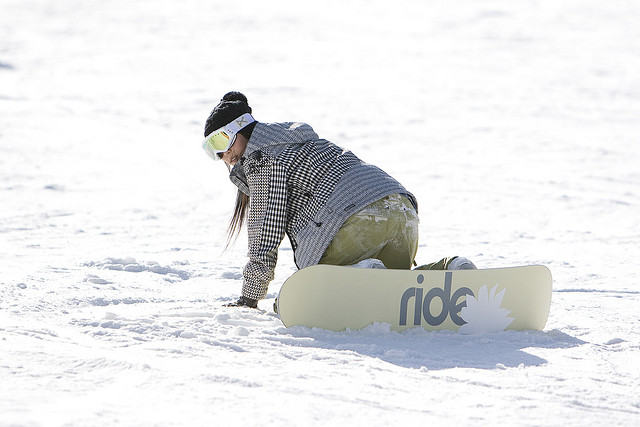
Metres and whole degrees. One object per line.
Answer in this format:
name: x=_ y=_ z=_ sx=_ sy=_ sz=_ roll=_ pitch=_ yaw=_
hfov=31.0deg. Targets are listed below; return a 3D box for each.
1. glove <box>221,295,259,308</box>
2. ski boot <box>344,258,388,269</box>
glove: x=-0.790 y=0.843 z=11.062 sx=0.334 sy=0.114 sz=0.102 roll=2 pitch=-4 yaw=12
ski boot: x=0.430 y=0.452 z=10.733 sx=0.366 sy=0.117 sz=0.226 roll=8 pitch=-5 yaw=-4
